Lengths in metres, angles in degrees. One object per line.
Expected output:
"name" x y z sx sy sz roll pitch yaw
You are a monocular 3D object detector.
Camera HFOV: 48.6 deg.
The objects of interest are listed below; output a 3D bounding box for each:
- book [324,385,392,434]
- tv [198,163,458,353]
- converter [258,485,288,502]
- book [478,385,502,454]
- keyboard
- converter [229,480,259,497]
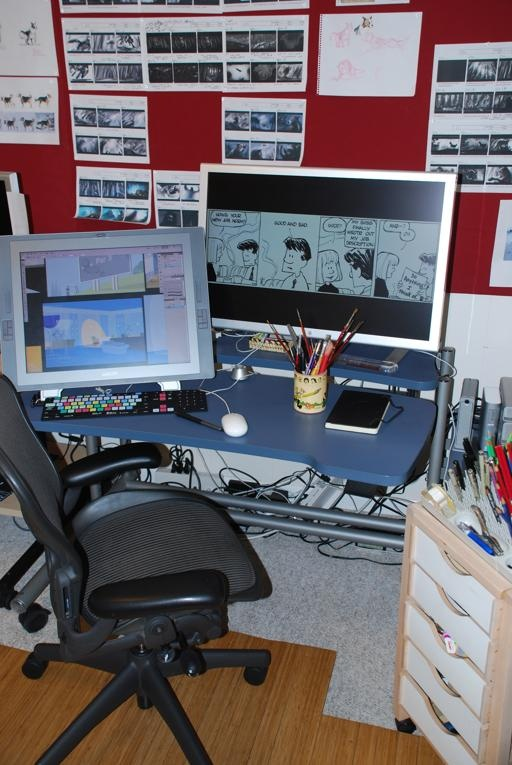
"book" 0.255 0.062 1.372 0.123 0.028 0.269 5 19 19
"tv" 0.182 -0.349 1.472 0.796 0.487 0.065 12 25 23
"converter" 0.066 0.433 2.115 0.077 0.021 0.079 4 35 9
"book" 0.537 0.090 1.299 0.039 0.124 0.124 2 -22 15
"keyboard" -0.330 0.055 1.403 0.269 0.027 0.080 1 41 -4
"converter" -0.052 0.406 2.161 0.121 0.068 0.083 4 10 3
